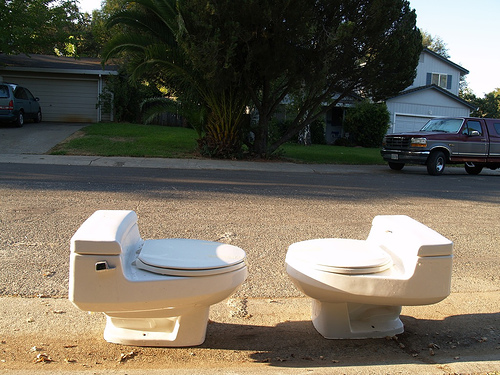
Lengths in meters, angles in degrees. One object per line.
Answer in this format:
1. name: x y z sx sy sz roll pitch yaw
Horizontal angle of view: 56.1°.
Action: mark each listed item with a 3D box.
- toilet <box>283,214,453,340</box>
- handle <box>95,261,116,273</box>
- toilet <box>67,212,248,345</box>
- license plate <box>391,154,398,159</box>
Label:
1. toilet: 1.024 0.802 4.405 1.291 0.899 1.044 -1 9 -3
2. handle: -1.112 0.618 3.671 0.162 0.086 0.054 7 4 -14
3. toilet: -0.799 0.786 4.201 1.340 0.967 1.068 1 14 -9
4. license plate: 4.860 -1.068 15.750 0.213 0.149 0.115 1 8 26
